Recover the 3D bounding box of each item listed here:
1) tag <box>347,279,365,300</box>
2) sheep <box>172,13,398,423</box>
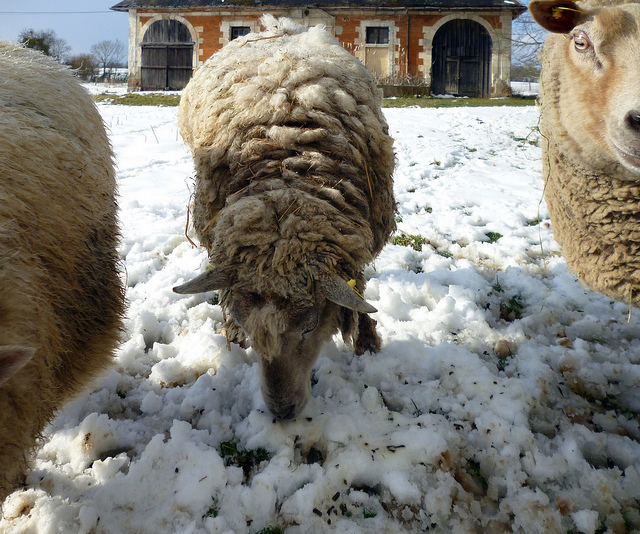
[{"bbox_3d":[0.209,0.133,3.418,0.115,0.061,0.086,35,-15,0],"label":"tag"},{"bbox_3d":[-0.194,-0.578,4.047,1.194,1.790,3.104,-1,56,6],"label":"sheep"}]
